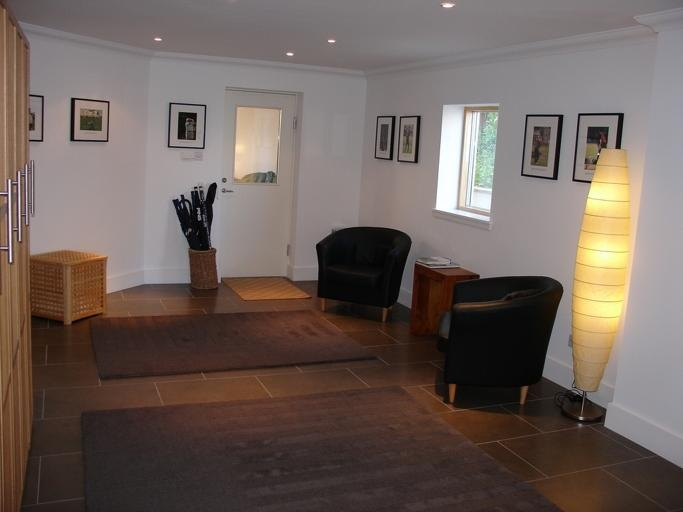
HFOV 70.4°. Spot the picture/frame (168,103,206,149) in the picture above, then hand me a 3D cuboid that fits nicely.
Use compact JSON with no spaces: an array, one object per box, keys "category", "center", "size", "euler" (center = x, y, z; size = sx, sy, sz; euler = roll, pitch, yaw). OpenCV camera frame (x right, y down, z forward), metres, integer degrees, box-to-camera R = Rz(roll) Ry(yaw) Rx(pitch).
[{"category":"picture/frame","center":[-2.106,-1.765,6.529],"size":[0.599,0.755,0.050],"euler":[0,10,-19]}]

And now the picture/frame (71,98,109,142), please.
[{"category":"picture/frame","center":[-3.024,-1.618,5.775],"size":[0.052,0.534,0.544],"euler":[7,8,37]}]

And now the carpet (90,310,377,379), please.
[{"category":"carpet","center":[-1.227,0.851,4.974],"size":[2.590,0.038,1.518],"euler":[0,12,-17]}]

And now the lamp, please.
[{"category":"lamp","center":[2.039,0.246,3.756],"size":[0.432,2.085,0.408],"euler":[5,11,8]}]

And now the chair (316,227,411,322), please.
[{"category":"chair","center":[0.312,0.170,6.178],"size":[1.088,1.034,1.012],"euler":[7,8,26]}]

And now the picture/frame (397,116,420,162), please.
[{"category":"picture/frame","center":[0.886,-1.508,6.284],"size":[0.063,0.766,0.539],"euler":[-5,11,-26]}]

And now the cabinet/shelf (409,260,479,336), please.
[{"category":"cabinet/shelf","center":[1.136,0.500,5.328],"size":[0.474,0.848,0.621],"euler":[-7,12,-24]}]

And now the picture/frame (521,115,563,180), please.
[{"category":"picture/frame","center":[1.885,-1.004,4.508],"size":[0.075,0.745,0.533],"euler":[-2,12,-25]}]

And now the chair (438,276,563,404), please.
[{"category":"chair","center":[1.340,0.664,4.298],"size":[1.042,0.967,1.120],"euler":[-2,10,-10]}]

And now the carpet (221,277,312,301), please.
[{"category":"carpet","center":[-1.073,0.460,6.819],"size":[0.951,0.044,1.194],"euler":[-3,13,-29]}]
